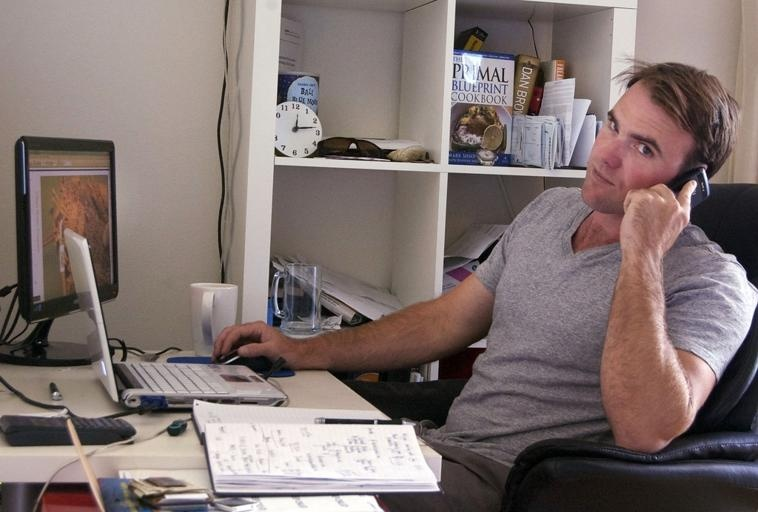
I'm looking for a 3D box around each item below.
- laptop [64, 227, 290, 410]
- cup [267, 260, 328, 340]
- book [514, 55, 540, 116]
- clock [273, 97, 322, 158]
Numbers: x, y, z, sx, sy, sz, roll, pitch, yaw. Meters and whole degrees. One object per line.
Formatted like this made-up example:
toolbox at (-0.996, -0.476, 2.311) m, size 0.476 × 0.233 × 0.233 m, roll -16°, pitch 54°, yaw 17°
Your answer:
laptop at (-0.452, 0.067, 1.447) m, size 0.419 × 0.289 × 0.485 m, roll 3°, pitch 4°, yaw -22°
cup at (-0.234, 0.131, 1.911) m, size 0.232 × 0.232 × 0.145 m, roll 0°, pitch 5°, yaw 15°
book at (0.499, -0.571, 2.155) m, size 0.077 × 0.167 × 0.180 m, roll 9°, pitch 12°, yaw -3°
clock at (-0.257, -0.398, 1.995) m, size 0.234 × 0.210 × 0.031 m, roll 0°, pitch 0°, yaw -24°
